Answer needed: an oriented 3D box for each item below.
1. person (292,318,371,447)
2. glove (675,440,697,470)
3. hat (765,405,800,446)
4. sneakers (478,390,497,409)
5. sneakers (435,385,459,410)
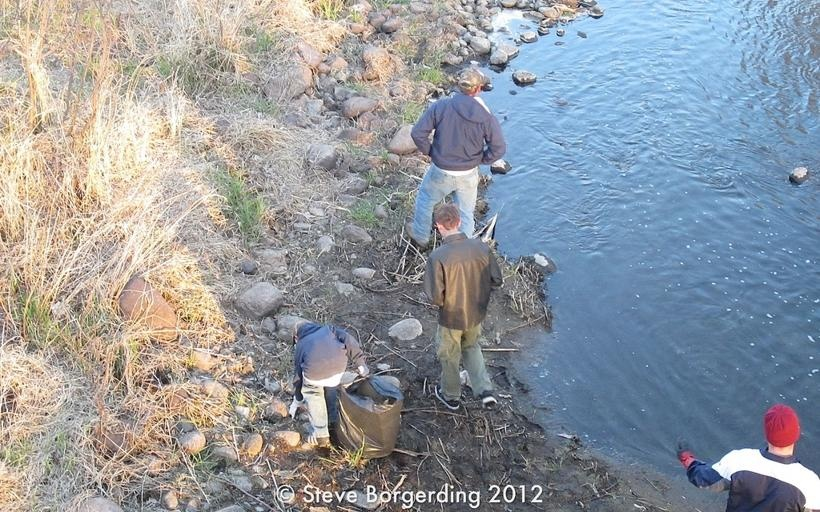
[{"bbox_3d":[-1.183,1.651,9.762,0.918,1.163,1.295,26,65,22],"label":"person"},{"bbox_3d":[3.450,2.426,9.195,0.152,0.173,0.528,9,28,4],"label":"glove"},{"bbox_3d":[4.454,2.003,8.772,0.337,0.298,0.512,-6,40,27],"label":"hat"},{"bbox_3d":[1.103,2.032,10.438,0.230,0.269,0.242,-28,78,-1],"label":"sneakers"},{"bbox_3d":[0.503,2.043,10.507,0.186,0.183,0.451,-23,56,-23],"label":"sneakers"}]
